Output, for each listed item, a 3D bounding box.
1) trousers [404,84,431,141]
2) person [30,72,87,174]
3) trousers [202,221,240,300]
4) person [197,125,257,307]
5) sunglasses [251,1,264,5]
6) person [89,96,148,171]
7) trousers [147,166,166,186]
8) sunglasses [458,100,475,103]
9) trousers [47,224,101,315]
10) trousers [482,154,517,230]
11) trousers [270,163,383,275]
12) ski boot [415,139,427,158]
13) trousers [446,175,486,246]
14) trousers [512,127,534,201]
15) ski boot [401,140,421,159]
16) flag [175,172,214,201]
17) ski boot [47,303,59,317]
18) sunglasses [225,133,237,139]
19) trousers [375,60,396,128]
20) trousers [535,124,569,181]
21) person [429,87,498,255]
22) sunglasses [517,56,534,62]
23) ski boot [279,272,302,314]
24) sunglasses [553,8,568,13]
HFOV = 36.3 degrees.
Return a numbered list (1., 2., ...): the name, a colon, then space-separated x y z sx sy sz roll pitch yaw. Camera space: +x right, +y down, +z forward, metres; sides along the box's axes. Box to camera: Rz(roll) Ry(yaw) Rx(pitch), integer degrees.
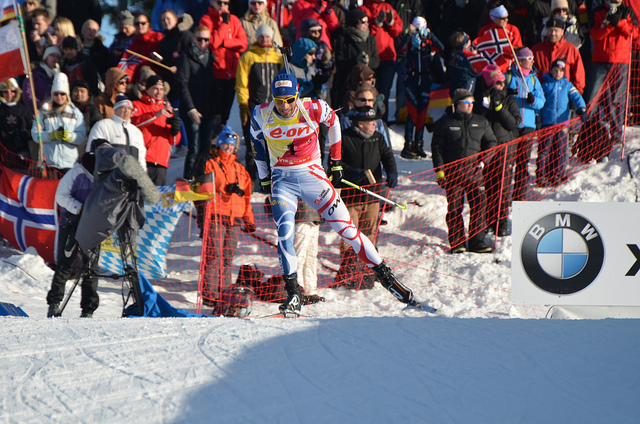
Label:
1. trousers: 1.572 -1.663 15.768 0.396 1.215 0.332 3 24 6
2. person: -3.619 -1.255 13.773 0.659 1.381 0.347 1 1 -16
3. trousers: -1.394 0.649 13.262 0.385 1.042 0.671 1 1 -4
4. person: -1.296 0.019 13.558 0.677 2.469 1.312 1 1 4
5. sunglasses: -1.020 -3.383 15.751 0.172 0.049 0.061 1 1 -6
6. person: -2.715 -1.126 13.126 0.734 0.887 0.347 1 1 -17
7. trousers: -2.344 -0.526 13.939 0.175 0.318 0.221 -13 21 -38
8. sunglasses: 2.108 -1.596 13.988 0.270 0.052 0.096 1 2 -29
9. trousers: -3.123 0.727 12.395 0.633 1.166 0.464 1 1 -17
10. trousers: 2.595 -0.304 14.170 0.517 1.079 0.207 1 1 -12
11. trousers: -0.006 0.072 12.562 1.251 1.418 0.516 1 1 -9
12. ski boot: 1.657 -1.038 15.924 0.224 0.286 0.097 1 1 -26
13. trousers: 2.107 -0.031 14.171 0.480 1.067 0.382 -1 -1 4
14. trousers: 3.020 -0.647 14.585 0.300 1.205 0.262 10 -14 -24
15. ski boot: 1.530 -1.006 15.913 0.394 0.342 0.165 4 3 13
16. flag: -1.694 -0.353 13.209 0.519 0.407 0.047 -5 -18 -3
17. ski boot: -3.381 1.230 12.387 0.137 0.143 0.239 1 1 -16
18. sunglasses: -1.252 -1.084 13.884 0.084 0.075 0.238 2 2 26
19. trousers: 1.074 -1.970 15.952 0.278 1.023 0.745 1 1 18
20. trousers: 3.533 -0.904 14.735 0.577 0.762 0.110 -4 9 1
21. person: 2.057 -0.578 14.010 0.915 2.364 0.379 1 1 6
22. sunglasses: 3.097 -2.305 14.644 0.250 0.098 0.110 1 1 -19
23. ski boot: -0.380 1.004 12.256 0.331 0.515 0.256 1 1 -23
24. sunglasses: 3.714 -3.133 15.128 0.197 0.073 0.076 2 1 10
